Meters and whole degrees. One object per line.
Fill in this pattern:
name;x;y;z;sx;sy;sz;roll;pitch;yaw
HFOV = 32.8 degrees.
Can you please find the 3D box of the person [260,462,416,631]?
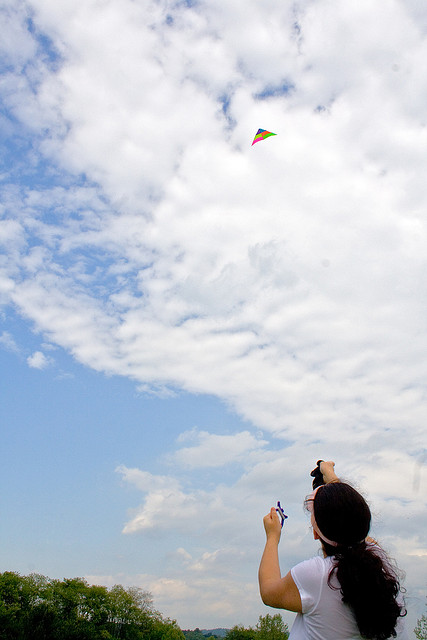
person;0.856;1.737;5.384;1.000;1.070;0.412;-1;-24;1
